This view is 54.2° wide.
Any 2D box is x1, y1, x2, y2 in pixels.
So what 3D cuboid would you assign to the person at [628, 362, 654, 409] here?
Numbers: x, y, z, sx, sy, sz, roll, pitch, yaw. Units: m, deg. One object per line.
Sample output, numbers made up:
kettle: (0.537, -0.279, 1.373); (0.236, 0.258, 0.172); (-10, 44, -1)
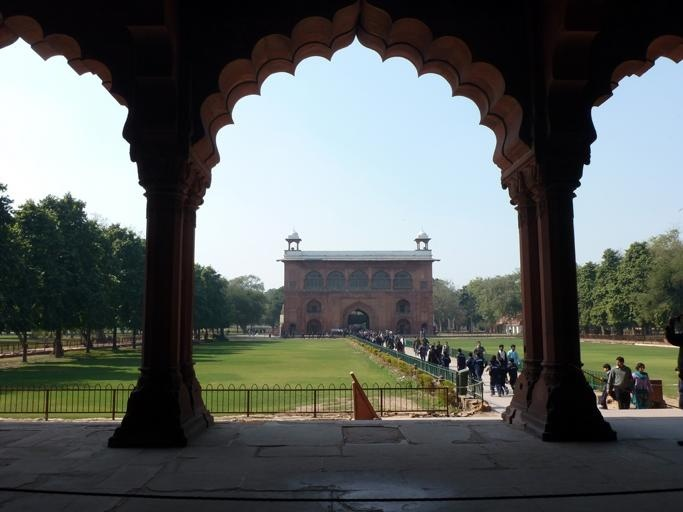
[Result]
person: (5.695, 2.432, 12.645); (0.331, 0.783, 0.795); (-4, -5, 23)
